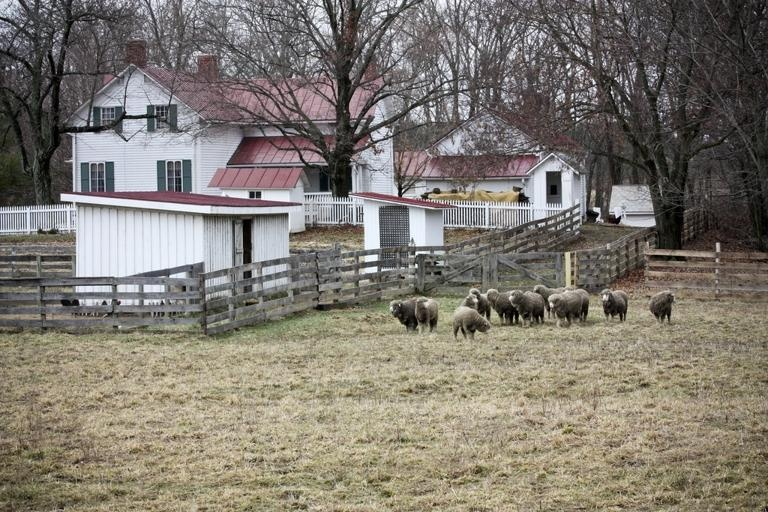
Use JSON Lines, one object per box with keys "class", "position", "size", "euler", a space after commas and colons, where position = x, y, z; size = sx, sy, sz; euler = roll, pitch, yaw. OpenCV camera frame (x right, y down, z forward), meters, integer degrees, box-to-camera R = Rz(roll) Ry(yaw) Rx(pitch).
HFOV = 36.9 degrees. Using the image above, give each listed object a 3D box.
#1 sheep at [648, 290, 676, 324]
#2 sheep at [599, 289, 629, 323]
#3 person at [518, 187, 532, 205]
{"class": "sheep", "position": [9.498, 1.746, 39.494], "size": [0.762, 1.108, 1.003], "euler": [-2, -1, 14]}
{"class": "sheep", "position": [7.924, 1.711, 39.726], "size": [0.725, 1.112, 1.476], "euler": [-2, -2, 24]}
{"class": "person", "position": [7.919, -3.302, 64.884], "size": [0.804, 1.142, 1.145], "euler": [-1, 6, 7]}
